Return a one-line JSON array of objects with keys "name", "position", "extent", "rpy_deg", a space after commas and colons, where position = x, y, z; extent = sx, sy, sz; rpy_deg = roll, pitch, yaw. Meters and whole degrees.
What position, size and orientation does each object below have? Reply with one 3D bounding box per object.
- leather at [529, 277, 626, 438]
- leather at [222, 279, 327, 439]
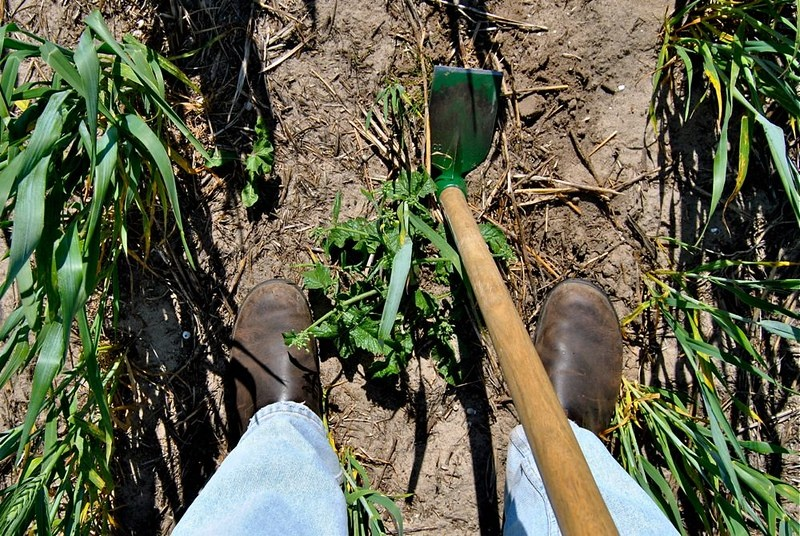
[{"name": "leather", "position": [0.623, 0.289, 2.212], "extent": [0.194, 0.706, 0.249], "rpy_deg": [-2, 4, 16]}, {"name": "leather", "position": [-0.432, 0.278, 2.208], "extent": [0.194, 0.701, 0.246], "rpy_deg": [-1, 5, -8]}]
